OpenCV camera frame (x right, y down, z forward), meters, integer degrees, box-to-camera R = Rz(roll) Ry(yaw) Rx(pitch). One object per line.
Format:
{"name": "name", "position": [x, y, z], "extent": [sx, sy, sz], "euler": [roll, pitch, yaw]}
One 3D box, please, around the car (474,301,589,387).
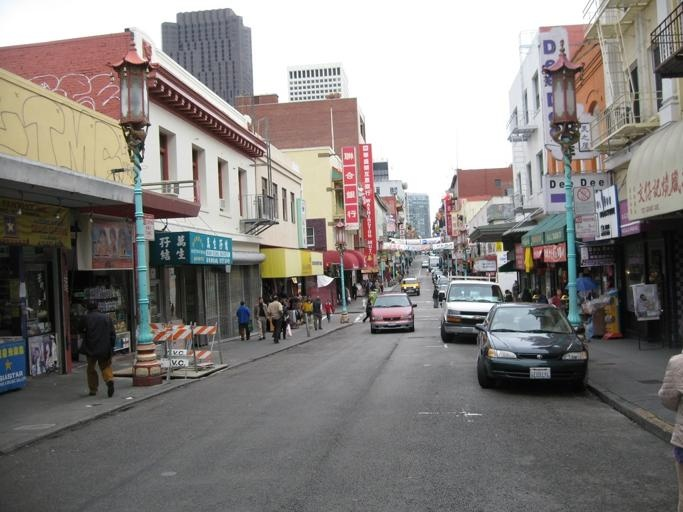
{"name": "car", "position": [4.187, 1.933, 13.884], "extent": [1.311, 1.202, 2.829], "euler": [-1, -11, 5]}

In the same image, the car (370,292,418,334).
{"name": "car", "position": [2.304, 2.646, 28.539], "extent": [1.933, 1.732, 2.217], "euler": [-2, 0, -6]}

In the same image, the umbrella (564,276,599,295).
{"name": "umbrella", "position": [8.363, 0.988, 21.203], "extent": [0.581, 0.586, 0.627], "euler": [-26, 0, 1]}

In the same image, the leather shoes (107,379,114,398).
{"name": "leather shoes", "position": [-5.354, 3.042, 14.214], "extent": [0.132, 0.487, 0.184], "euler": [1, -5, -14]}

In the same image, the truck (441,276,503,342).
{"name": "truck", "position": [4.685, 1.886, 22.962], "extent": [1.404, 1.563, 2.938], "euler": [0, -10, 1]}

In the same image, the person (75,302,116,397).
{"name": "person", "position": [-5.670, 2.147, 14.349], "extent": [0.950, 1.942, 0.700], "euler": [-1, 1, 37]}

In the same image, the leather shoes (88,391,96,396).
{"name": "leather shoes", "position": [-5.830, 3.185, 14.382], "extent": [0.133, 0.102, 0.088], "euler": [2, -3, 11]}
